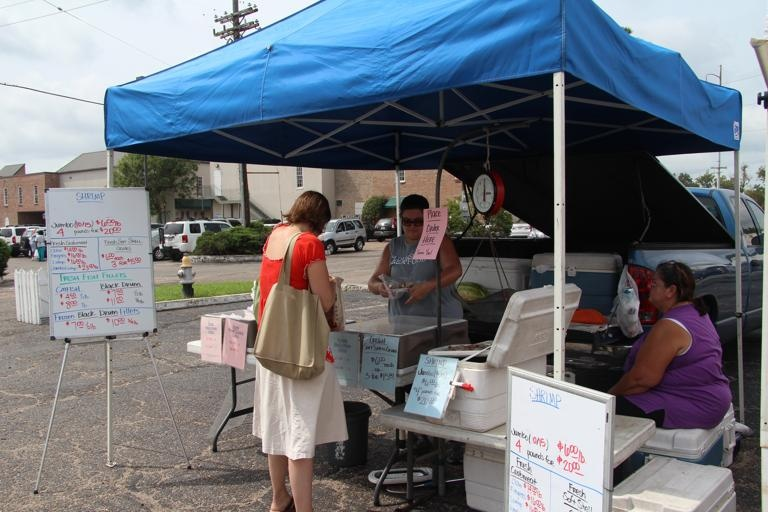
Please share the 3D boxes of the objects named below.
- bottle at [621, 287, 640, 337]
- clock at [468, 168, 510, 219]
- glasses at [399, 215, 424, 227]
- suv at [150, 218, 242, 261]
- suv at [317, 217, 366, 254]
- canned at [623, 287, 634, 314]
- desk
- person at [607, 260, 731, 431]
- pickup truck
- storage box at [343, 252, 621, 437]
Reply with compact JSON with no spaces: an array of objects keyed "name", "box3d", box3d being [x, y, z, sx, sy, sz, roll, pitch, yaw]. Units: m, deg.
[{"name":"bottle","box3d":[2.379,0.551,6.453,0.160,0.471,0.243,-1,18,3]},{"name":"clock","box3d":[1.038,-0.604,6.451,0.205,0.474,0.440,-4,10,-18]},{"name":"glasses","box3d":[0.273,-0.342,6.320,0.226,0.111,0.080,3,10,19]},{"name":"suv","box3d":[-7.684,-0.614,27.025,1.547,1.185,2.813,2,11,33]},{"name":"suv","box3d":[-2.026,-1.023,30.941,1.293,1.148,2.274,-1,0,41]},{"name":"canned","box3d":[2.387,0.419,6.410,0.073,0.226,0.088,-1,0,16]},{"name":"desk","box3d":[1.020,1.375,5.218,1.979,0.585,0.857,5,11,32]},{"name":"person","box3d":[2.418,0.785,5.991,1.395,1.421,0.923,-1,-2,37]},{"name":"pickup truck","box3d":[3.348,0.230,8.262,3.470,1.652,1.844,-9,6,-40]},{"name":"storage box","box3d":[0.973,0.707,5.331,1.115,0.967,1.145,0,0,39]}]
